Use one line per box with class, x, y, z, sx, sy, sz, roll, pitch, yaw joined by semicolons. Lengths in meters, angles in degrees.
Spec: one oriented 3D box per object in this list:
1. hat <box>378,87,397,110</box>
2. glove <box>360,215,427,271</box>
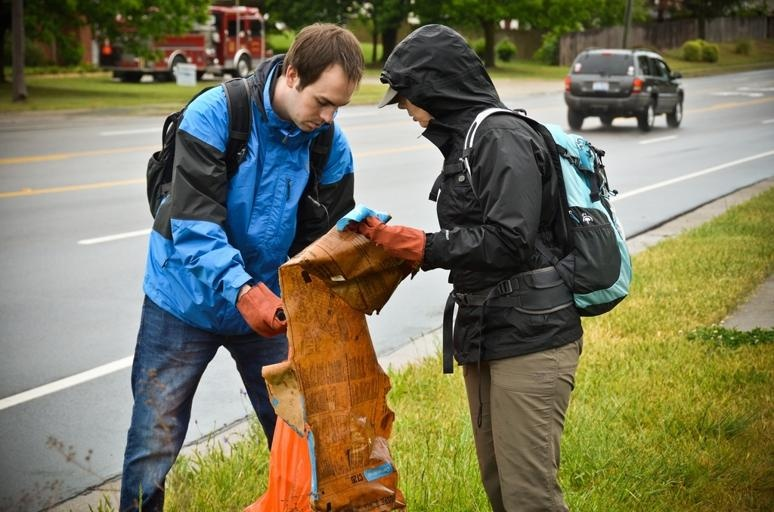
hat;0.009;-0.894;4.057;0.132;0.039;0.083;-52;10;6
glove;0.039;-0.079;3.809;0.309;0.147;0.205;28;64;10
